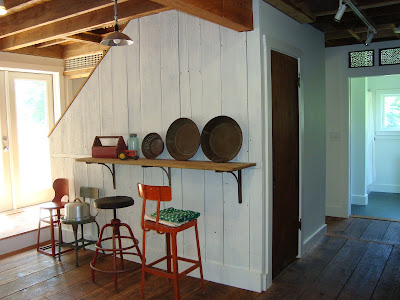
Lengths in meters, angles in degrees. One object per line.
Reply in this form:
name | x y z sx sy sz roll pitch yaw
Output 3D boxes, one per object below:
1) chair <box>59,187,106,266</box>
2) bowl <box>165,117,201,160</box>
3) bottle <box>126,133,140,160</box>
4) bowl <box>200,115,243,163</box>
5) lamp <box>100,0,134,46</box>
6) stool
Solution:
chair | -1.645 0.994 4.507 0.515 0.933 0.541 -1 4 20
bowl | -0.202 -0.137 3.873 0.449 0.477 0.109 9 6 33
bottle | -0.826 -0.049 4.086 0.151 0.293 0.332 -3 10 -10
bowl | 0.241 -0.129 3.639 0.473 0.494 0.115 2 4 29
lamp | -0.948 -1.445 3.647 0.303 0.617 0.936 -4 10 -15
stool | -0.997 1.058 3.952 0.673 0.964 0.688 -4 2 -8
